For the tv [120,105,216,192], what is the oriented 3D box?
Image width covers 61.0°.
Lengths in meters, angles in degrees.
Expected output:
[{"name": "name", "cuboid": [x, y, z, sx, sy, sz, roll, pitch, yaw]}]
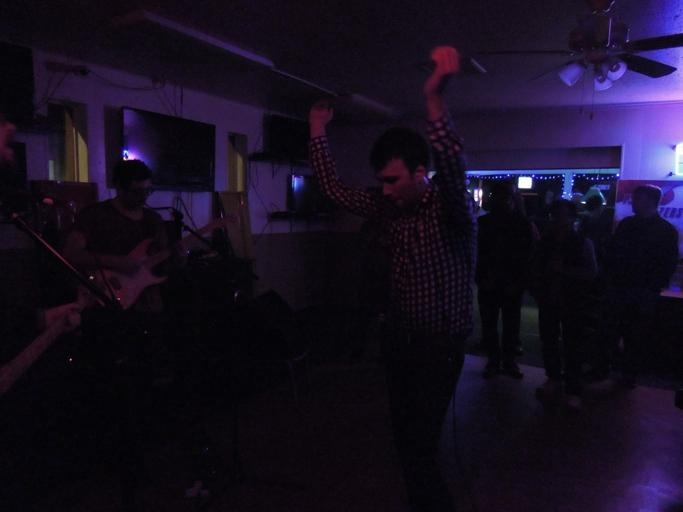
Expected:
[{"name": "tv", "cuboid": [-1.785, -1.084, 5.806, 0.111, 0.807, 1.108, 0, 0, 40]}]

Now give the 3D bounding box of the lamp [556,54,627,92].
[{"name": "lamp", "cuboid": [2.100, -1.512, 4.778, 0.347, 0.144, 0.313, 8, 5, 14]}]
